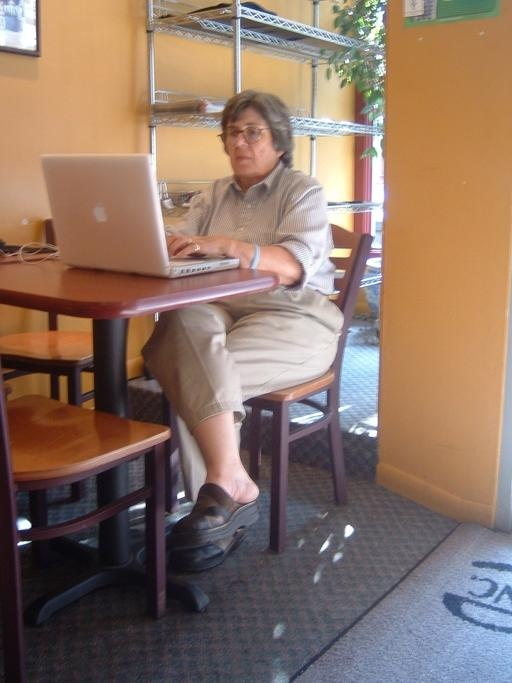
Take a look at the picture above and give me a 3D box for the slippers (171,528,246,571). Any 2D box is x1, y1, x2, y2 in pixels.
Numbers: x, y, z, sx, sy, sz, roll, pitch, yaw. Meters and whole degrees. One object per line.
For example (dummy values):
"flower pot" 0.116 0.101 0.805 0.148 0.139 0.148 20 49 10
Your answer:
"slippers" -0.093 0.424 1.216 0.064 0.066 0.167 -2 -8 28

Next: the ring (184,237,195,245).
"ring" -0.139 -0.215 1.255 0.019 0.004 0.019 3 22 -1

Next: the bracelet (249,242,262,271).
"bracelet" 0.002 -0.186 1.303 0.014 0.051 0.039 10 17 11

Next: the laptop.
"laptop" -0.223 -0.237 1.146 0.363 0.222 0.262 11 17 41
